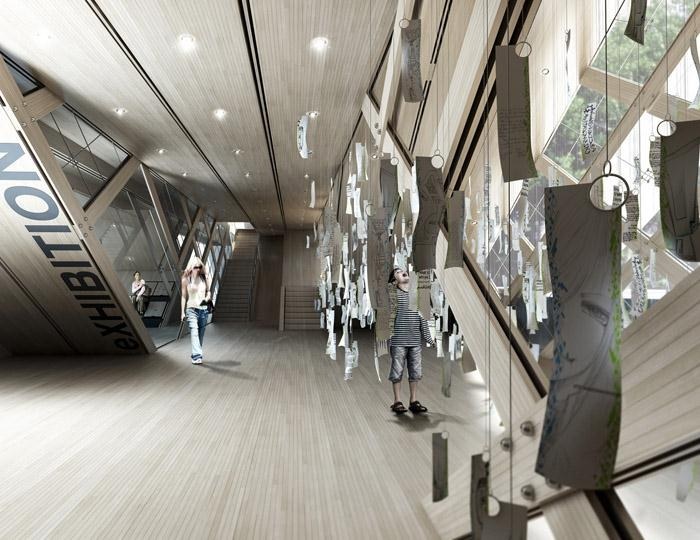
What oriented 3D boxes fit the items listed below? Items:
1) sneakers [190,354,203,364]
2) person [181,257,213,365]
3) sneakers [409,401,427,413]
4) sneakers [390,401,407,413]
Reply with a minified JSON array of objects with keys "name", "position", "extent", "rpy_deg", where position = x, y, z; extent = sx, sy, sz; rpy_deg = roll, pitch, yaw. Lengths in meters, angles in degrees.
[{"name":"sneakers","position":[-1.987,1.167,5.422],"extent":[0.143,0.127,0.178],"rpy_deg":[2,-23,-9]},{"name":"person","position":[-2.082,0.538,5.651],"extent":[0.397,1.473,0.733],"rpy_deg":[8,-23,-22]},{"name":"sneakers","position":[0.543,1.100,3.388],"extent":[0.136,0.073,0.070],"rpy_deg":[-3,-5,24]},{"name":"sneakers","position":[0.389,1.089,3.321],"extent":[0.053,0.073,0.151],"rpy_deg":[5,-18,-17]}]
